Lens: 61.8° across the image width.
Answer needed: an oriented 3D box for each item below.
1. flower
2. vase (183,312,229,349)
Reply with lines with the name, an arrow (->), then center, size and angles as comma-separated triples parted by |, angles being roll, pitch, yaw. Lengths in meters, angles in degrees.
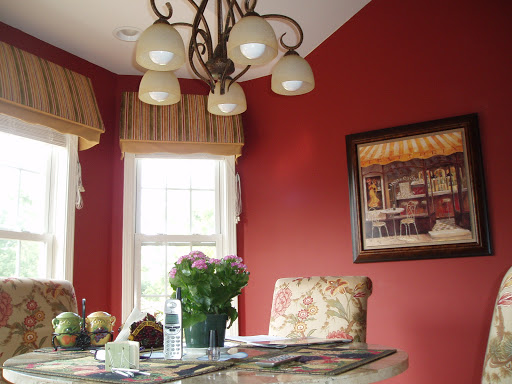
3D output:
flower -> -0.200, 0.392, 1.821 | 0.343, 0.323, 0.344 | -14, -20, 40
vase -> -0.221, 0.614, 1.869 | 0.215, 0.133, 0.180 | -4, -23, 4
